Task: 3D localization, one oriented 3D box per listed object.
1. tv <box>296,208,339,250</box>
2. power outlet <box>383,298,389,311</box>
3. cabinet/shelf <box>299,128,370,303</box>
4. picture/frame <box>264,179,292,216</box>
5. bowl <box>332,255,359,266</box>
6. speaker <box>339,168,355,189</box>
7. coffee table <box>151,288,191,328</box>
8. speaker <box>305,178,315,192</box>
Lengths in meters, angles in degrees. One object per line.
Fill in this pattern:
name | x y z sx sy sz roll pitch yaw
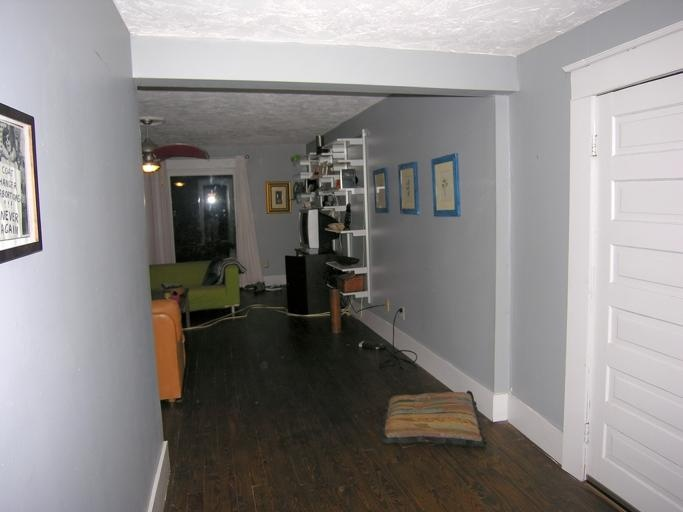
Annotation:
tv | -0.312 -0.180 6.203 0.408 0.681 0.768 -1 3 -17
power outlet | 0.482 0.525 5.280 0.118 0.165 0.032 0 2 -2
cabinet/shelf | -0.118 -0.481 6.135 0.612 2.037 1.635 -5 11 -16
picture/frame | -1.126 -1.035 8.528 0.542 0.720 0.050 -2 5 -16
bowl | 0.063 0.051 5.785 0.283 0.115 0.402 -4 11 -10
speaker | 0.085 -0.941 5.995 0.218 0.333 0.219 0 10 1
coffee table | -1.588 0.472 4.586 0.311 0.238 0.457 -5 11 -27
speaker | -0.435 -0.979 6.779 0.069 0.216 0.215 2 -3 -26
